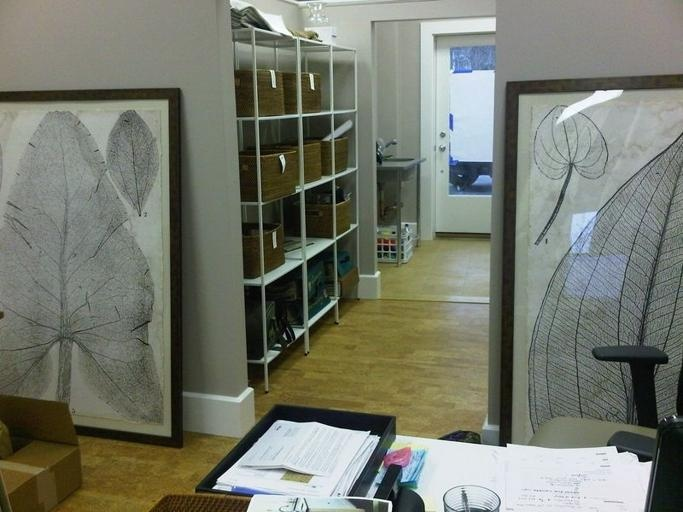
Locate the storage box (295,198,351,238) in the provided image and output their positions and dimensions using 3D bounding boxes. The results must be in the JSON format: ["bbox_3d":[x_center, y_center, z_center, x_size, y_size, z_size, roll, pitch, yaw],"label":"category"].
[{"bbox_3d":[-0.145,-0.328,4.751,0.311,0.201,0.320,3,15,17],"label":"storage box"}]

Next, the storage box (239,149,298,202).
[{"bbox_3d":[-0.492,-0.531,3.726,0.265,0.241,0.458,6,16,26],"label":"storage box"}]

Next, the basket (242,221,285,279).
[{"bbox_3d":[-0.496,0.002,3.859,0.213,0.246,0.397,-7,-6,-27],"label":"basket"}]

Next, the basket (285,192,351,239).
[{"bbox_3d":[-0.244,-0.300,4.860,0.514,0.261,0.530,7,9,34],"label":"basket"}]

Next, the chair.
[{"bbox_3d":[0.977,0.500,2.046,0.435,0.320,0.487,11,19,44],"label":"chair"}]

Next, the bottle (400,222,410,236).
[{"bbox_3d":[0.738,-0.305,6.677,0.081,0.104,0.246,0,6,8],"label":"bottle"}]

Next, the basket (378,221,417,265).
[{"bbox_3d":[0.629,-0.146,6.656,0.339,0.220,0.553,0,14,10],"label":"basket"}]

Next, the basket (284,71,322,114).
[{"bbox_3d":[-0.285,-1.145,4.065,0.211,0.245,0.362,5,19,17],"label":"basket"}]

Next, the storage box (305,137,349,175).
[{"bbox_3d":[-0.125,-0.773,4.464,0.184,0.214,0.350,4,14,18],"label":"storage box"}]

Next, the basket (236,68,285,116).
[{"bbox_3d":[-0.527,-1.013,3.634,0.237,0.285,0.419,4,15,22],"label":"basket"}]

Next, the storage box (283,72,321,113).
[{"bbox_3d":[-0.334,-1.214,4.269,0.382,0.260,0.224,9,18,29],"label":"storage box"}]

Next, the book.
[{"bbox_3d":[-0.107,0.520,1.476,0.328,0.052,0.314,3,15,21],"label":"book"}]

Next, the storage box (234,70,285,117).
[{"bbox_3d":[-0.527,-1.015,3.630,0.226,0.286,0.423,3,14,19],"label":"storage box"}]

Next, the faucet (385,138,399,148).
[{"bbox_3d":[0.587,-1.333,6.853,0.118,0.068,0.305,9,27,27],"label":"faucet"}]

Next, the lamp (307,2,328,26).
[{"bbox_3d":[-0.215,-2.034,4.873,0.197,0.195,0.197,0,24,9],"label":"lamp"}]
